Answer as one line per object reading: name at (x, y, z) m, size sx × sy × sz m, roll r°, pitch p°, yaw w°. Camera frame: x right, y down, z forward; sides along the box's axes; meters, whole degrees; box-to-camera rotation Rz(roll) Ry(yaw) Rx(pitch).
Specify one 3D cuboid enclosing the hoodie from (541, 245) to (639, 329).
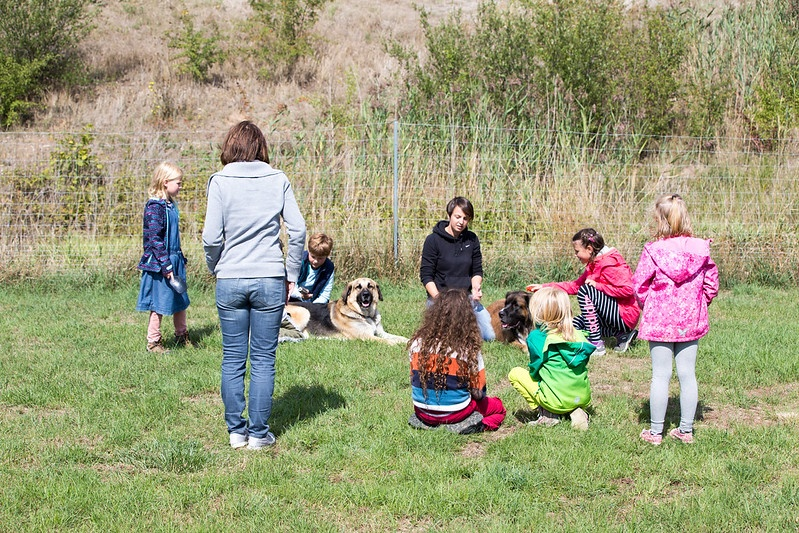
hoodie at (3.545, 0.467, 21.201) m, size 1.787 × 1.662 × 1.251 m, roll 5°, pitch -6°, yaw 4°

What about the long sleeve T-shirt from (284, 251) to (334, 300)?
long sleeve T-shirt at (-1.710, 0.178, 20.850) m, size 0.542 × 0.760 × 0.440 m, roll 19°, pitch 14°, yaw -23°

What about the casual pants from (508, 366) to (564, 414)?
casual pants at (2.289, 2.068, 18.884) m, size 0.830 × 0.328 × 0.627 m, roll 30°, pitch 22°, yaw 26°

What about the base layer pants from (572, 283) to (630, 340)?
base layer pants at (3.773, 0.864, 21.140) m, size 0.940 × 1.311 × 0.957 m, roll 5°, pitch -2°, yaw -4°

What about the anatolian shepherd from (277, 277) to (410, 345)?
anatolian shepherd at (-1.169, 0.911, 21.300) m, size 2.142 × 1.022 × 1.204 m, roll -2°, pitch 0°, yaw 24°

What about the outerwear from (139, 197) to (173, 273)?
outerwear at (-4.462, -0.542, 20.383) m, size 0.559 × 1.326 × 0.314 m, roll -1°, pitch 2°, yaw -10°

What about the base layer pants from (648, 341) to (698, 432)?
base layer pants at (4.615, 2.010, 18.570) m, size 0.821 × 2.217 × 0.597 m, roll -1°, pitch -32°, yaw 14°

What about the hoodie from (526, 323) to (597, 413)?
hoodie at (2.662, 1.683, 19.192) m, size 1.109 × 1.564 × 1.302 m, roll -2°, pitch 8°, yaw 3°
